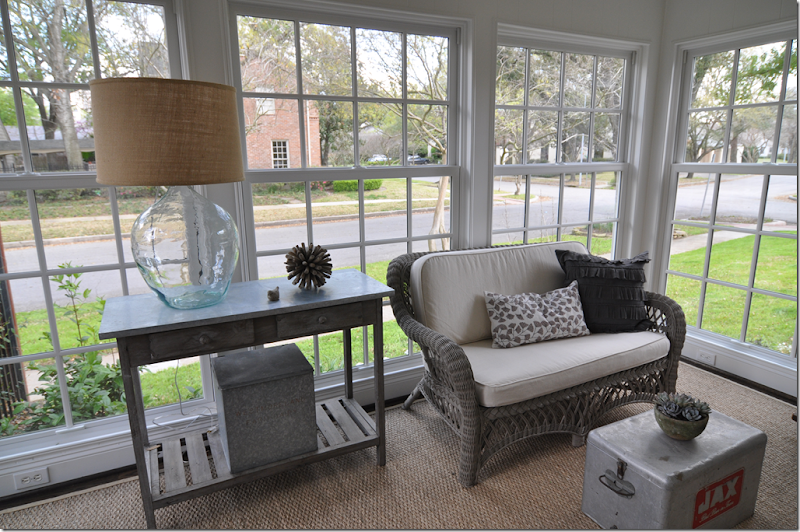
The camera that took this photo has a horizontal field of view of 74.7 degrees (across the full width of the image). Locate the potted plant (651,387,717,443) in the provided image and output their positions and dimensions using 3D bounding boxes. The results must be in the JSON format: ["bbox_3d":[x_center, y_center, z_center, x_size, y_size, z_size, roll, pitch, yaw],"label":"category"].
[{"bbox_3d":[1.501,0.787,2.787,0.260,0.175,0.274,1,-3,7],"label":"potted plant"}]

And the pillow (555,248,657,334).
[{"bbox_3d":[1.378,0.189,3.569,0.667,0.546,0.263,1,-7,-3],"label":"pillow"}]

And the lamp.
[{"bbox_3d":[-1.125,-0.347,2.678,0.686,1.175,0.278,-11,17,-26],"label":"lamp"}]

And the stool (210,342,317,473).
[{"bbox_3d":[-0.769,0.733,3.229,0.811,0.733,0.585,-2,2,-32],"label":"stool"}]

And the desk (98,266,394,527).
[{"bbox_3d":[-0.943,0.779,3.015,1.383,1.057,0.554,-7,14,-29],"label":"desk"}]

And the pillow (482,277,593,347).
[{"bbox_3d":[0.871,0.330,3.425,0.822,0.323,0.312,-6,26,-12],"label":"pillow"}]
